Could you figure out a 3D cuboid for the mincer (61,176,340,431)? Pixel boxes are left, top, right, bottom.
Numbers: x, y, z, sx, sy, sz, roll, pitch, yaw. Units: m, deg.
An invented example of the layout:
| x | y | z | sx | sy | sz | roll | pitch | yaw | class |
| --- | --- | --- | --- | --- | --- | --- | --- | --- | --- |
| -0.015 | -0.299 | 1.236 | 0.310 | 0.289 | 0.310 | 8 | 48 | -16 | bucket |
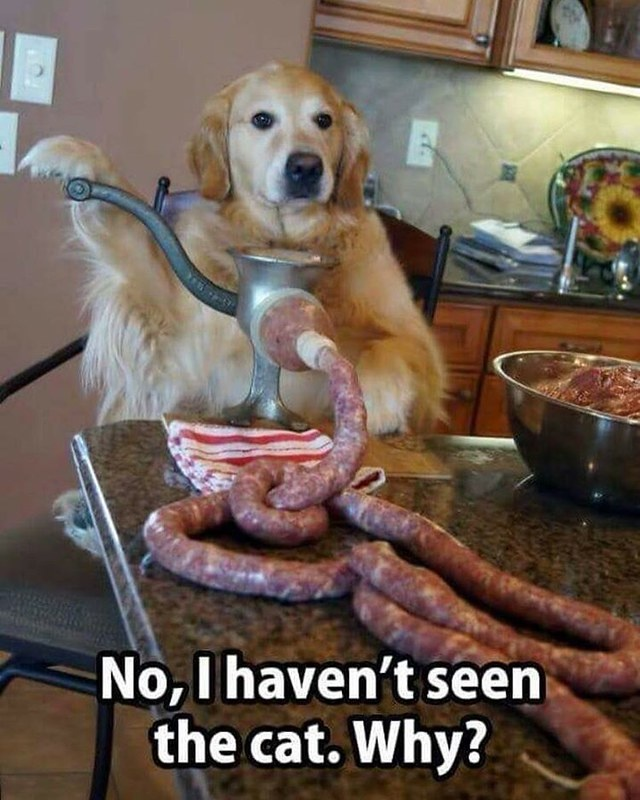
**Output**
| x | y | z | sx | sy | sz | roll | pitch | yaw | class |
| --- | --- | --- | --- | --- | --- | --- | --- | --- | --- |
| -0.150 | -0.097 | 0.875 | 0.278 | 0.328 | 0.229 | -8 | 20 | -24 | mincer |
